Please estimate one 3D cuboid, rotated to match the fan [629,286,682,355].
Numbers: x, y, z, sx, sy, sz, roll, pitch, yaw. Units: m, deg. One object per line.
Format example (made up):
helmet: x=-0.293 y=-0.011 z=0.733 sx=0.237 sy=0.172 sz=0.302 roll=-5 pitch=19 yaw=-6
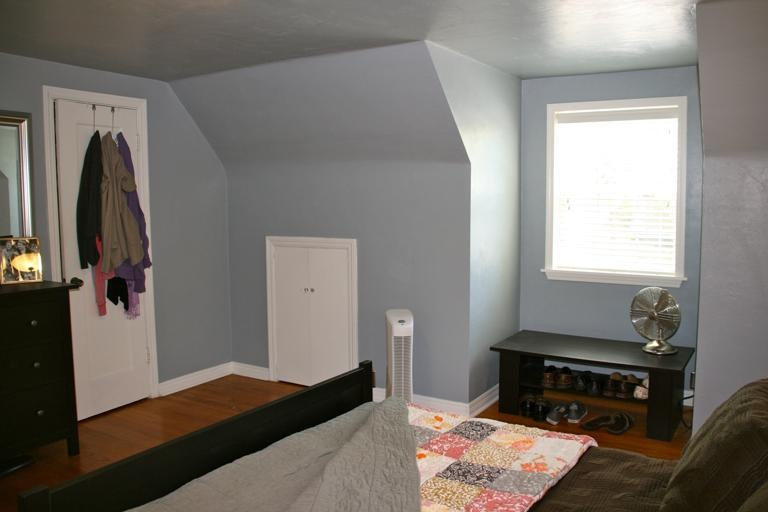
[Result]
fan: x=2.225 y=0.517 z=4.682 sx=0.358 sy=0.554 sz=0.185 roll=2 pitch=6 yaw=27
